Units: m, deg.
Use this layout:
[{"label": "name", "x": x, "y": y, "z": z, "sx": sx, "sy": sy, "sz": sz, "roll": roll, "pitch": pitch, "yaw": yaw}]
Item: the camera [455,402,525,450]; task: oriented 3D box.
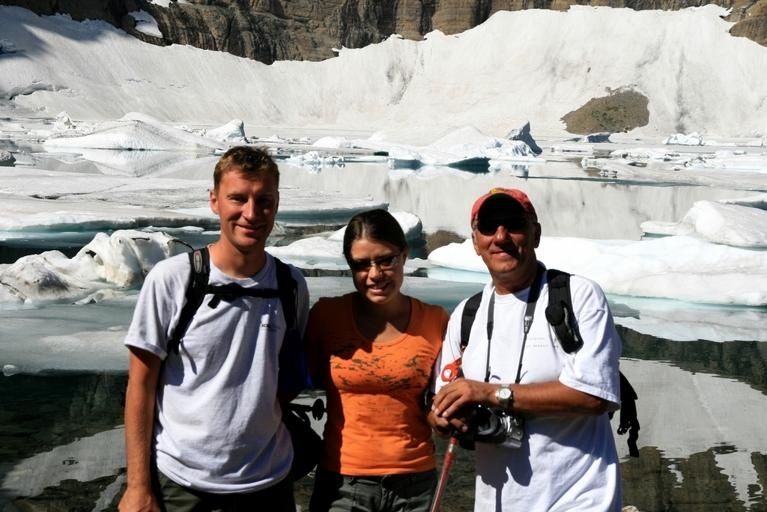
[{"label": "camera", "x": 0.549, "y": 0.893, "z": 3.965, "sx": 0.336, "sy": 0.143, "sz": 0.222, "roll": -14, "pitch": -29, "yaw": 23}]

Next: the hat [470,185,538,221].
[{"label": "hat", "x": 0.619, "y": -0.264, "z": 4.100, "sx": 0.370, "sy": 0.119, "sz": 0.417, "roll": -13, "pitch": -17, "yaw": 2}]
